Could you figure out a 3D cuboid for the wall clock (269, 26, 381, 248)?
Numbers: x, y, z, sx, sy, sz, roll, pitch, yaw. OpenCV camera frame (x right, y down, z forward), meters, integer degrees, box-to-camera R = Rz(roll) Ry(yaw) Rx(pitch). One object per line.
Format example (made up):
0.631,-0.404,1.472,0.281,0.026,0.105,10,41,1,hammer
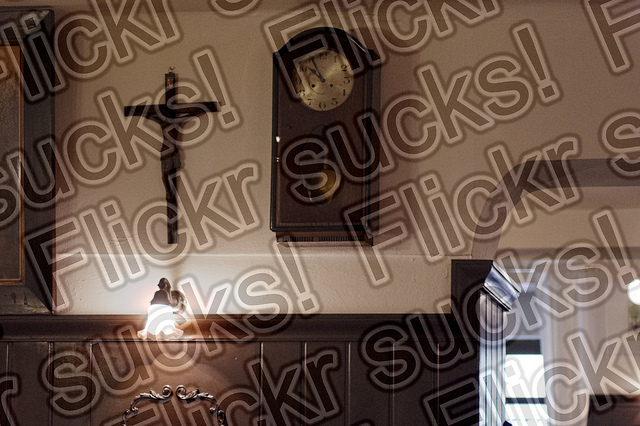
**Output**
0.019,-0.332,3.945,0.449,0.950,0.243,-1,-10,5,wall clock

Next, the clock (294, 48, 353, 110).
0.022,-0.566,3.835,0.260,0.263,0.035,-1,-5,3,clock
